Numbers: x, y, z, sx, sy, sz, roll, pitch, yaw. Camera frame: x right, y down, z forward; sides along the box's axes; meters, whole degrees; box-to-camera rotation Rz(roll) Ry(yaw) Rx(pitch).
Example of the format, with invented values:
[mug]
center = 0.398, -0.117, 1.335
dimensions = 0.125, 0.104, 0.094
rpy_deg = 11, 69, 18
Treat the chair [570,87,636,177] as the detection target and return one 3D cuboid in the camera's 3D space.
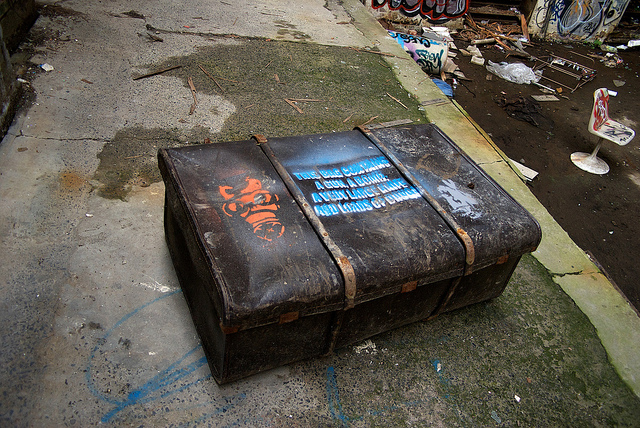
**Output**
[chair]
center = 4.618, -1.328, 7.374
dimensions = 0.801, 1.240, 0.779
rpy_deg = 31, 47, 23
